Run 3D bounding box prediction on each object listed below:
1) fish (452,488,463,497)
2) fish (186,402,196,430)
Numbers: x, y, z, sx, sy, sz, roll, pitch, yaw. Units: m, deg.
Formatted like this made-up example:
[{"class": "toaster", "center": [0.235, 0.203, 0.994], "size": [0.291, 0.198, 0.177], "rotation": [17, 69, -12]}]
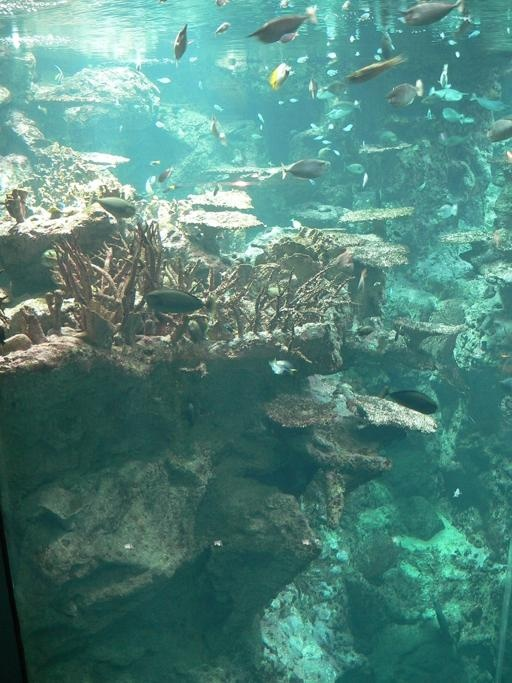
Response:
[{"class": "fish", "center": [2.897, 2.166, 9.254], "size": [0.095, 0.138, 0.064], "rotation": [3, -9, -1]}, {"class": "fish", "center": [-0.645, 0.722, 6.373], "size": [0.049, 0.184, 0.194], "rotation": [-4, -12, 9]}]
